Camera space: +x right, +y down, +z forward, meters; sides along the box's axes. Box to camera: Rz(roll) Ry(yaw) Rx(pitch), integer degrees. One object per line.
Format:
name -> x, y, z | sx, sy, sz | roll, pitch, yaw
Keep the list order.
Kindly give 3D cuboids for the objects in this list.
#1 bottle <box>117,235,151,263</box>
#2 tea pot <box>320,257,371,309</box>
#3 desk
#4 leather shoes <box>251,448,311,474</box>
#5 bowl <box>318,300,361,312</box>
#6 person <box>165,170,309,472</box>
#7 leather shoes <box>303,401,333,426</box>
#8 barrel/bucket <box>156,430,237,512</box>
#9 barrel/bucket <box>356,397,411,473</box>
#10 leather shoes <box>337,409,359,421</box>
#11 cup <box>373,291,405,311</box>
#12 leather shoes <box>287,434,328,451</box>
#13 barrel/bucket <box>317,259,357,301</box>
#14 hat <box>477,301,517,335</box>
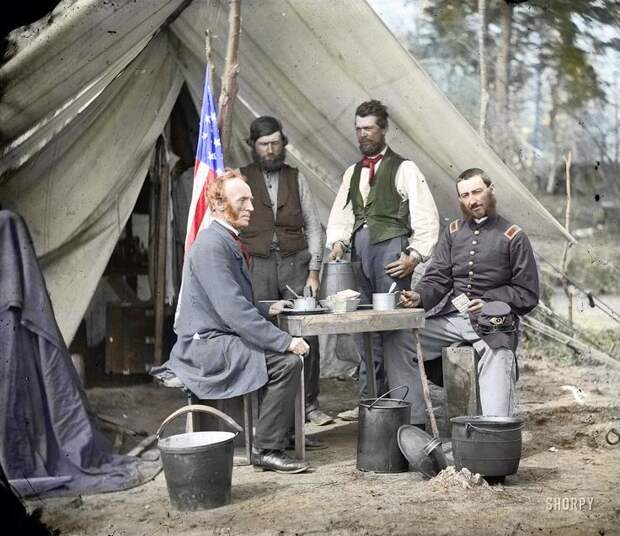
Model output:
bottle -> -1.748, -0.186, 10.689 | 0.253, 0.272, 0.089 | 2, -2, -24
tea pot -> 0.284, 0.109, 8.604 | 0.388, 0.366, 0.331 | 0, 0, -14
desk -> 0.662, 0.818, 8.540 | 1.266, 1.245, 0.951 | -12, 6, 41
leather shoes -> -0.240, 1.399, 8.012 | 0.484, 0.219, 0.167 | -2, -2, 13
bowl -> 0.222, 0.280, 8.149 | 0.177, 0.062, 0.130 | 1, -7, -12
person -> -0.547, 0.408, 8.012 | 1.009, 2.145, 0.616 | -3, 12, -6
leather shoes -> 0.065, 1.229, 9.255 | 0.119, 0.117, 0.279 | 3, -6, -42
barrel/bucket -> -0.784, 1.397, 7.666 | 0.547, 0.471, 0.558 | -4, 4, 0
barrel/bucket -> 0.540, 1.126, 8.131 | 0.382, 0.696, 0.417 | -1, 9, 0
leather shoes -> 0.337, 1.253, 9.407 | 0.223, 0.105, 0.085 | 1, -9, 9
cup -> 0.597, 0.247, 8.277 | 0.216, 0.143, 0.131 | 1, -3, -18
leather shoes -> -0.011, 1.367, 8.650 | 0.344, 0.148, 0.121 | -1, -1, 5
barrel/bucket -> 0.203, 0.082, 8.404 | 0.264, 0.296, 0.285 | 0, -5, 0
hat -> 1.390, 0.371, 8.185 | 0.262, 0.229, 0.116 | 0, 12, 8
